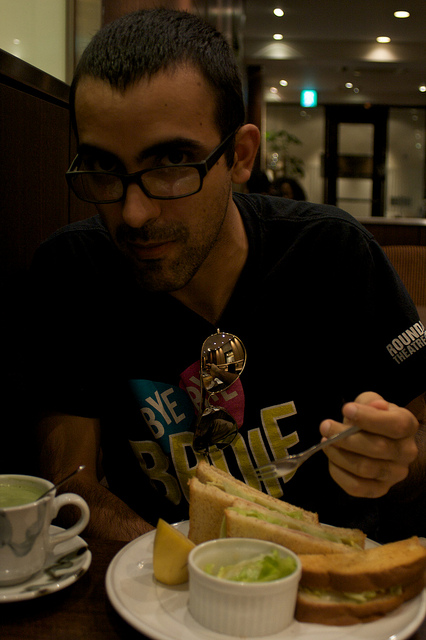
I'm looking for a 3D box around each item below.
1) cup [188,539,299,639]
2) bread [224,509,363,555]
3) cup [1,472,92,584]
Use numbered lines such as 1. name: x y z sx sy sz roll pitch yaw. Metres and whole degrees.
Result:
1. cup: 0.036 0.327 0.647 0.134 0.083 0.110 2 6 -3
2. bread: 0.106 0.335 0.822 0.120 0.029 0.116 21 -8 -22
3. cup: -0.212 0.300 0.792 0.168 0.124 0.109 3 13 -12
